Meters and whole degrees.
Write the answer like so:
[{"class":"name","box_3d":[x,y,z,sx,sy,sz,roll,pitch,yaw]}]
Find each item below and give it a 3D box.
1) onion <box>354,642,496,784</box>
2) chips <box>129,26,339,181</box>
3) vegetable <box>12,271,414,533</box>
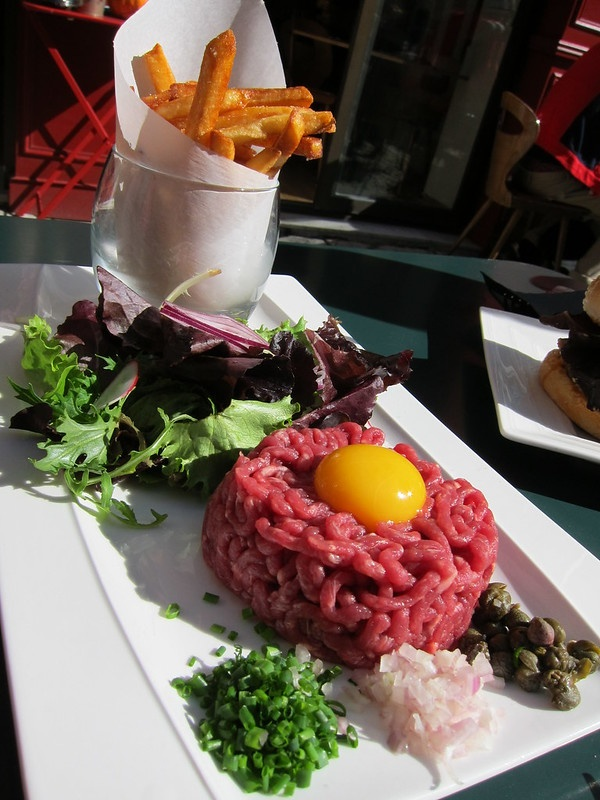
[{"class":"onion","box_3d":[0.144,0.378,0.830,0.123,0.038,0.126,30,24,28]},{"class":"chips","box_3d":[-0.100,-0.511,1.240,0.294,0.123,0.329,5,27,-8]},{"class":"vegetable","box_3d":[-0.151,0.001,1.105,0.520,0.143,0.451,12,25,-5]}]
